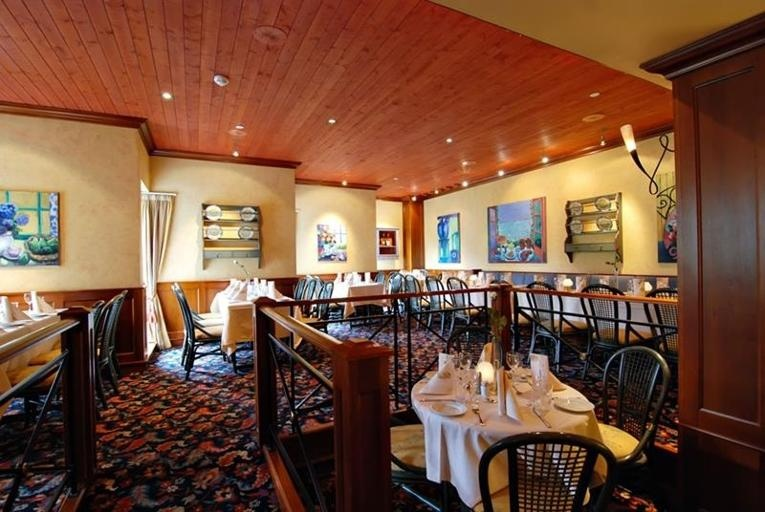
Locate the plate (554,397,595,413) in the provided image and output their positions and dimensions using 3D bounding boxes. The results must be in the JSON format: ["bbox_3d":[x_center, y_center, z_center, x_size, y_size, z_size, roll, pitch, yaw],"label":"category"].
[{"bbox_3d":[1.364,1.082,3.384,0.267,0.044,0.190,-1,12,-2],"label":"plate"}]

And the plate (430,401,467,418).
[{"bbox_3d":[0.466,1.095,3.333,0.249,0.028,0.181,1,12,8],"label":"plate"}]

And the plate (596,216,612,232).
[{"bbox_3d":[3.718,-0.528,7.884,0.055,0.250,0.263,-8,14,-29],"label":"plate"}]

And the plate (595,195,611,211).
[{"bbox_3d":[3.696,-0.892,7.886,0.205,0.161,0.225,1,5,30],"label":"plate"}]

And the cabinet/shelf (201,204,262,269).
[{"bbox_3d":[-2.645,-0.354,8.047,1.185,1.272,0.415,0,-2,-19],"label":"cabinet/shelf"}]

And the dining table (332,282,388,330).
[{"bbox_3d":[-0.392,0.943,8.973,0.943,0.703,1.409,-5,-6,-8],"label":"dining table"}]

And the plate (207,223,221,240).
[{"bbox_3d":[-2.872,-0.420,7.953,0.259,0.193,0.142,-10,-1,6],"label":"plate"}]

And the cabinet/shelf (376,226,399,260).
[{"bbox_3d":[0.095,-0.351,12.509,0.902,1.015,0.427,1,-4,-27],"label":"cabinet/shelf"}]

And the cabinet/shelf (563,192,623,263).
[{"bbox_3d":[3.631,-0.495,8.035,0.441,1.564,1.234,3,-4,-37],"label":"cabinet/shelf"}]
